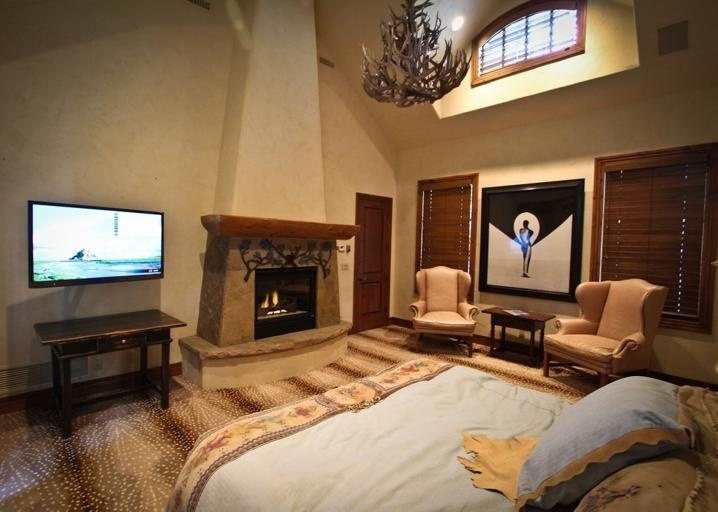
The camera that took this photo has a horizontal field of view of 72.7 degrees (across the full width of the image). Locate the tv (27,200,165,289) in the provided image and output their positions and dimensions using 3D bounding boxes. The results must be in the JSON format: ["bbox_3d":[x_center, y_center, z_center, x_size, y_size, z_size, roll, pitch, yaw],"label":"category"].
[{"bbox_3d":[-2.714,-0.121,4.917,0.953,0.645,0.040,-1,6,-41],"label":"tv"}]

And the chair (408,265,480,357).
[{"bbox_3d":[1.185,0.741,6.849,0.915,1.111,0.977,1,4,11],"label":"chair"}]

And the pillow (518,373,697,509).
[{"bbox_3d":[1.539,1.248,3.120,1.092,0.711,0.380,-1,4,-7],"label":"pillow"}]

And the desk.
[{"bbox_3d":[-2.561,1.153,4.968,0.833,0.974,1.310,9,8,39],"label":"desk"}]

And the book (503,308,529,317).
[{"bbox_3d":[2.033,0.731,6.347,0.302,0.021,0.472,-1,4,-10],"label":"book"}]

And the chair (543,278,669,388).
[{"bbox_3d":[2.846,0.771,5.836,1.156,1.407,1.219,2,0,-28],"label":"chair"}]

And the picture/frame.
[{"bbox_3d":[2.357,-0.218,6.511,1.682,1.990,0.148,2,0,39],"label":"picture/frame"}]
